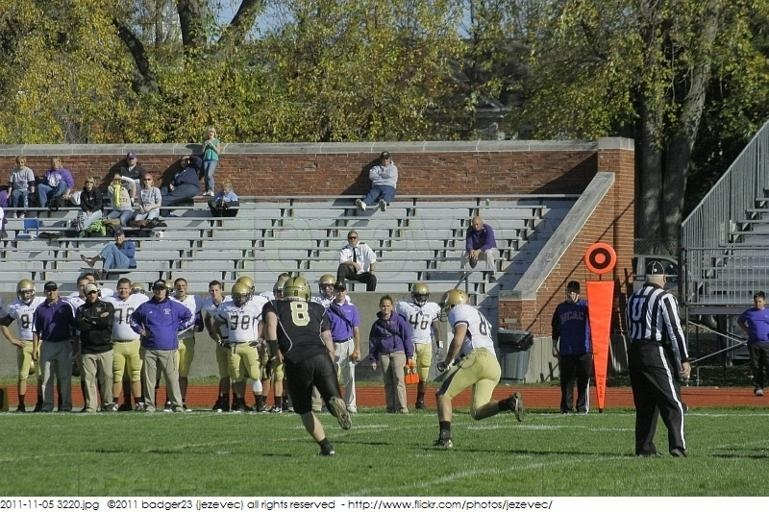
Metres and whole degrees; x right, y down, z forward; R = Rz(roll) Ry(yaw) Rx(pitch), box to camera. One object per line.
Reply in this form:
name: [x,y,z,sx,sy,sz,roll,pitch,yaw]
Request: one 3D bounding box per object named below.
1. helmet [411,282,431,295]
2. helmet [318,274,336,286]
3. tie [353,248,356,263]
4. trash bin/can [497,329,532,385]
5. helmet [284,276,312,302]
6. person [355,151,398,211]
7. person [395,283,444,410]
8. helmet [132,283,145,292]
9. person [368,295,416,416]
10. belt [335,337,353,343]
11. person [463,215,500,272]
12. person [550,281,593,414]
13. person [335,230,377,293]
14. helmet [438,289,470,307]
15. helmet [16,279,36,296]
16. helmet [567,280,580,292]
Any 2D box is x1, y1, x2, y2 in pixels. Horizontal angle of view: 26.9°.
helmet: [0.821,0.770,38.366,0.369,0.306,0.587,-1,-5,-1]
helmet: [-1.354,0.540,37.459,0.389,0.305,0.623,-1,-5,-3]
tie: [-0.828,-0.034,42.902,0.142,0.327,0.045,2,-5,-30]
trash bin/can: [3.355,2.618,42.151,1.264,1.340,1.220,1,-2,-28]
helmet: [-1.821,0.669,33.393,0.418,0.438,0.551,6,15,25]
person: [-0.127,-2.163,46.634,0.818,1.061,2.073,5,29,13]
person: [0.821,2.204,38.682,1.202,2.898,0.897,0,-1,4]
helmet: [-6.070,0.767,39.353,0.269,0.247,0.488,0,-5,-12]
person: [0.133,2.323,37.943,1.080,2.690,0.727,-7,-4,20]
belt: [-0.983,1.945,37.591,0.541,0.179,0.112,3,-6,-39]
person: [2.567,-0.340,43.784,0.752,1.639,0.746,-1,-1,40]
person: [4.461,2.162,38.355,0.914,3.161,0.636,-2,-5,11]
person: [-0.747,0.159,43.046,0.877,1.730,0.806,-1,-1,16]
helmet: [1.429,0.866,34.019,0.486,0.393,0.378,26,17,31]
helmet: [-8.765,0.728,39.218,0.362,0.377,0.447,-6,-16,-13]
helmet: [4.523,0.743,38.677,0.269,0.321,0.329,6,-43,3]
